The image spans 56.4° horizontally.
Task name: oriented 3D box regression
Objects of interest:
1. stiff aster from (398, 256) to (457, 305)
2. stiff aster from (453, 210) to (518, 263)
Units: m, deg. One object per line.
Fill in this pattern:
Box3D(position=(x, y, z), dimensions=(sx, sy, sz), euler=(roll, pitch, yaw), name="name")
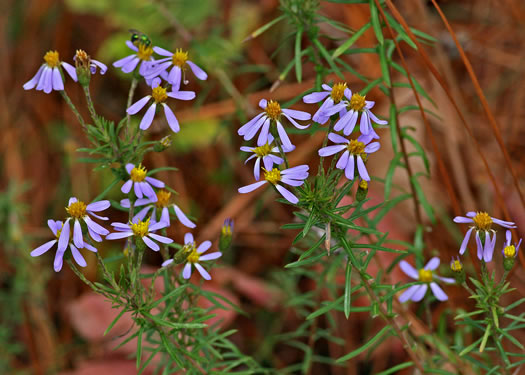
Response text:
Box3D(position=(0.901, 0.511, 2.704), dimensions=(0.307, 0.101, 0.405), euler=(-1, 21, 19), name="stiff aster")
Box3D(position=(1.140, 0.263, 2.508), dimensions=(0.202, 0.268, 0.272), euler=(-6, 21, 10), name="stiff aster")
